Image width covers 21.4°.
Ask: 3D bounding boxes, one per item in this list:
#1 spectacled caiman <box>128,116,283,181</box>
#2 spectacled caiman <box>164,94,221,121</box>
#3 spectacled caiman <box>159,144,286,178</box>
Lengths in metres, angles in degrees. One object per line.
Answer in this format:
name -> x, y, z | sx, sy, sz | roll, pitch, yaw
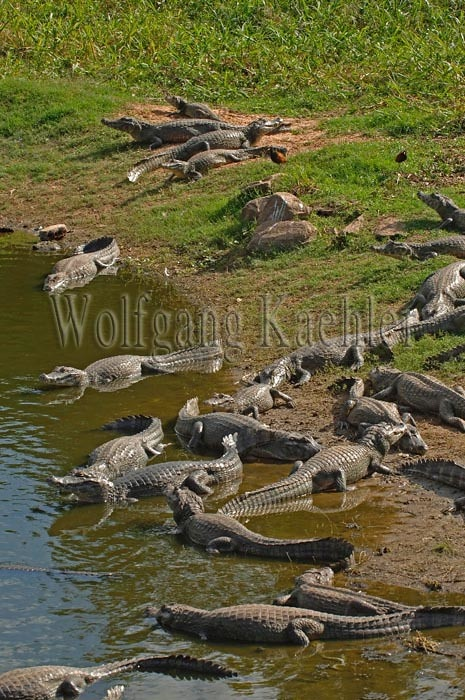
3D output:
spectacled caiman -> -0.463, -3.403, 20.987 | 3.001, 0.414, 0.665 | -27, 18, -33
spectacled caiman -> -0.749, -4.518, 23.049 | 0.502, 0.338, 1.230 | -6, 22, -38
spectacled caiman -> -0.245, -3.157, 20.478 | 1.792, 0.347, 0.788 | -15, 10, -24
